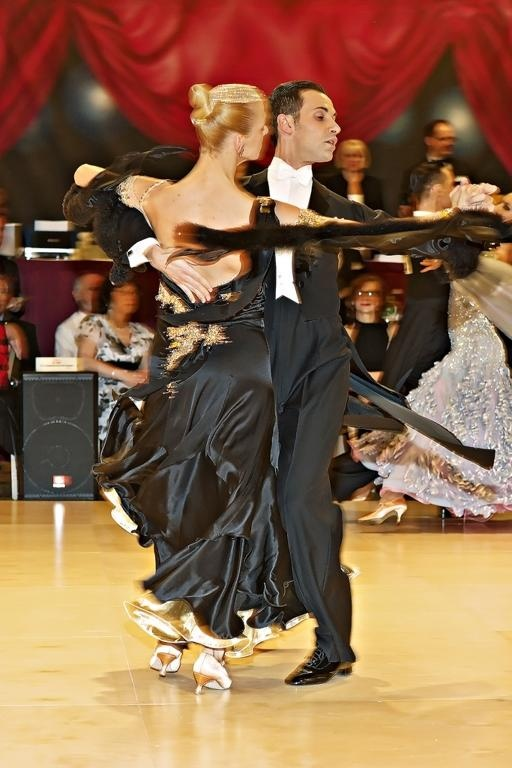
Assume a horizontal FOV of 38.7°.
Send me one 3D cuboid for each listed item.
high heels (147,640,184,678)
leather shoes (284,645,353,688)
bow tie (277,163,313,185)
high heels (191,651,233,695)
[{"bbox_3d":[-0.209,0.653,1.784,0.070,0.097,0.109,10,20,-1],"label":"high heels"},{"bbox_3d":[0.145,0.681,1.775,0.200,0.074,0.062,-2,-11,-26],"label":"leather shoes"},{"bbox_3d":[0.098,-0.540,1.881,0.073,0.040,0.018,4,-8,-7],"label":"bow tie"},{"bbox_3d":[-0.097,0.647,1.641,0.068,0.054,0.116,3,1,8],"label":"high heels"}]
